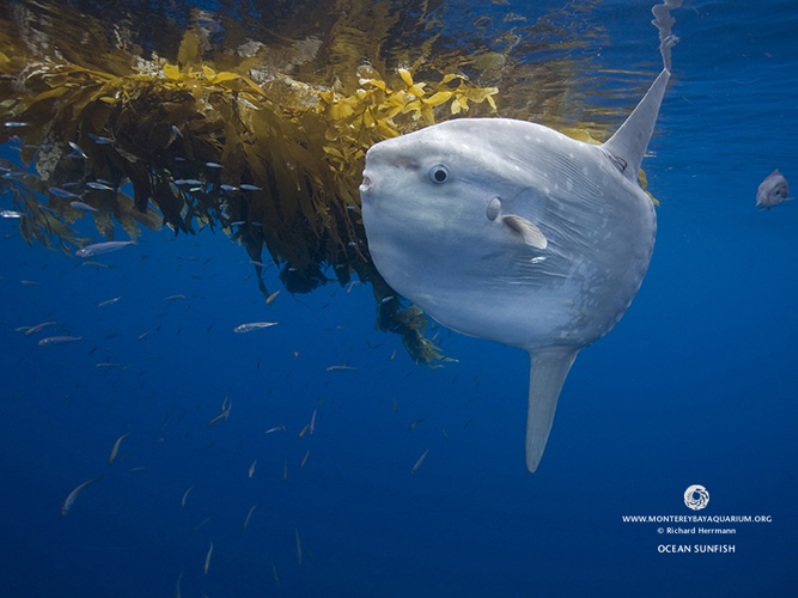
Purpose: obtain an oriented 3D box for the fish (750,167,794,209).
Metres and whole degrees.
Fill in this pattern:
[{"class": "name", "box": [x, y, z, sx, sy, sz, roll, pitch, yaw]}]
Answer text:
[{"class": "fish", "box": [5.690, -1.713, 13.313, 0.582, 0.434, 0.990, -6, 19, 36]}]
